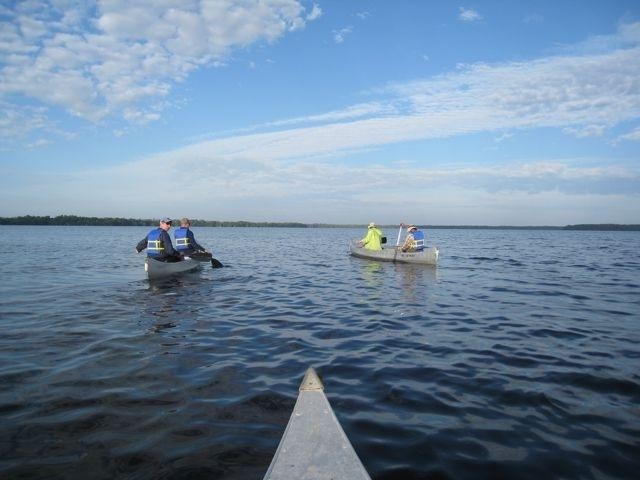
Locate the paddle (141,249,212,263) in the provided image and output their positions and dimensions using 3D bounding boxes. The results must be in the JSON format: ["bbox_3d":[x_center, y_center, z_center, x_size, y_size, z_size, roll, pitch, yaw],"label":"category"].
[{"bbox_3d":[-5.389,0.578,16.878,3.086,0.127,0.710,2,-36,-26],"label":"paddle"}]

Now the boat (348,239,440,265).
[{"bbox_3d":[3.698,0.679,23.543,1.540,0.876,6.411,-5,6,-41],"label":"boat"}]

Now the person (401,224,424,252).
[{"bbox_3d":[4.532,-0.062,22.016,1.013,1.299,2.059,0,5,9],"label":"person"}]
